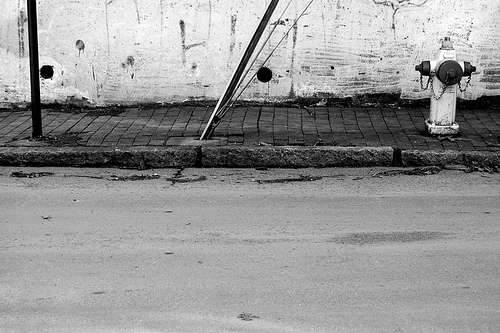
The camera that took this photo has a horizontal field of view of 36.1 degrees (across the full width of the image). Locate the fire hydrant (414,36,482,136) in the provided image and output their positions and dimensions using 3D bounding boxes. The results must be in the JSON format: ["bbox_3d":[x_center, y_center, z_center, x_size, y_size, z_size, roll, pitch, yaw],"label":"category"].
[{"bbox_3d":[3.288,-1.359,12.968,0.797,1.611,0.698,11,21,23],"label":"fire hydrant"}]
